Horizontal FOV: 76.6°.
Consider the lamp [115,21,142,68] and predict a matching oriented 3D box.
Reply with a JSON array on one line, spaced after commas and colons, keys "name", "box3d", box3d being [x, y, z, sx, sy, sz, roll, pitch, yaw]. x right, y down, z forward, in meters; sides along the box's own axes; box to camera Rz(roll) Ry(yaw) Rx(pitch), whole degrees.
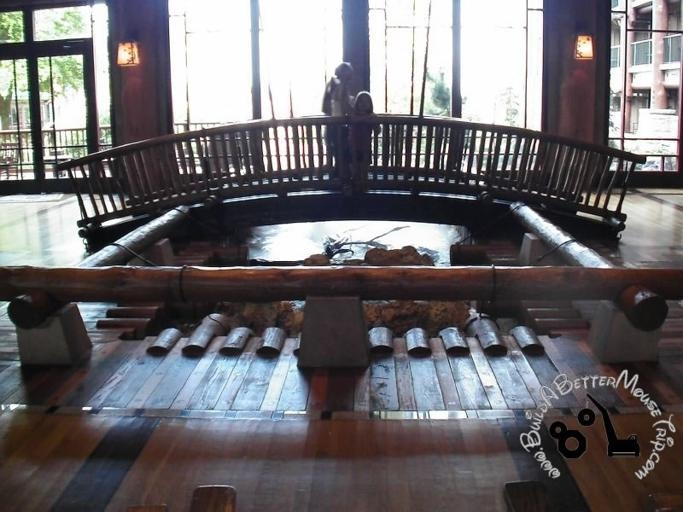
[{"name": "lamp", "box3d": [-3.951, -3.846, 7.947, 0.378, 0.707, 0.353, 5, 13, 11]}]

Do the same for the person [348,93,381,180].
[{"name": "person", "box3d": [0.292, -1.522, 5.793, 0.401, 1.246, 0.303, -4, 18, 0]}]

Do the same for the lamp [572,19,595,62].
[{"name": "lamp", "box3d": [4.494, -3.922, 7.881, 0.433, 0.555, 0.398, 2, 47, 29]}]
